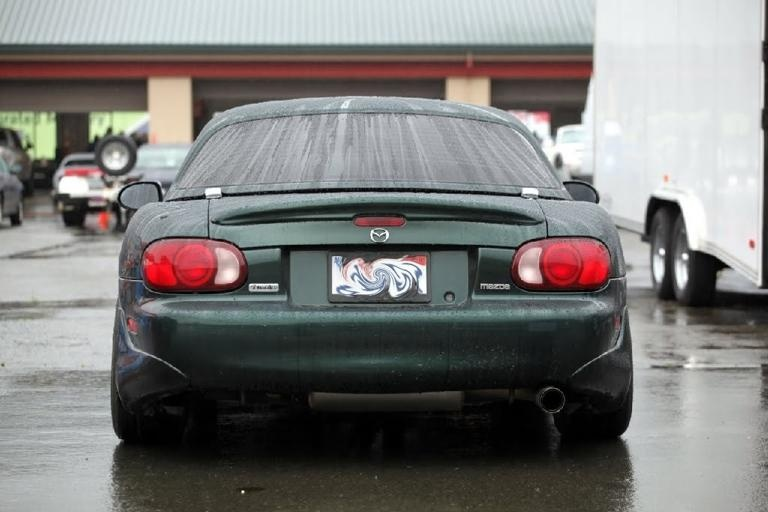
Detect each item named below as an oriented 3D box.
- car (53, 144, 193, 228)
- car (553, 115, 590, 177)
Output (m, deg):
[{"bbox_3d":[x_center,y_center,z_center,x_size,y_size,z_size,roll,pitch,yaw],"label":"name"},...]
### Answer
[{"bbox_3d":[-5.628,-1.127,27.627,2.251,1.530,4.601,-1,6,-8],"label":"car"},{"bbox_3d":[5.599,-3.127,39.610,1.125,1.125,2.465,-1,5,0],"label":"car"}]
